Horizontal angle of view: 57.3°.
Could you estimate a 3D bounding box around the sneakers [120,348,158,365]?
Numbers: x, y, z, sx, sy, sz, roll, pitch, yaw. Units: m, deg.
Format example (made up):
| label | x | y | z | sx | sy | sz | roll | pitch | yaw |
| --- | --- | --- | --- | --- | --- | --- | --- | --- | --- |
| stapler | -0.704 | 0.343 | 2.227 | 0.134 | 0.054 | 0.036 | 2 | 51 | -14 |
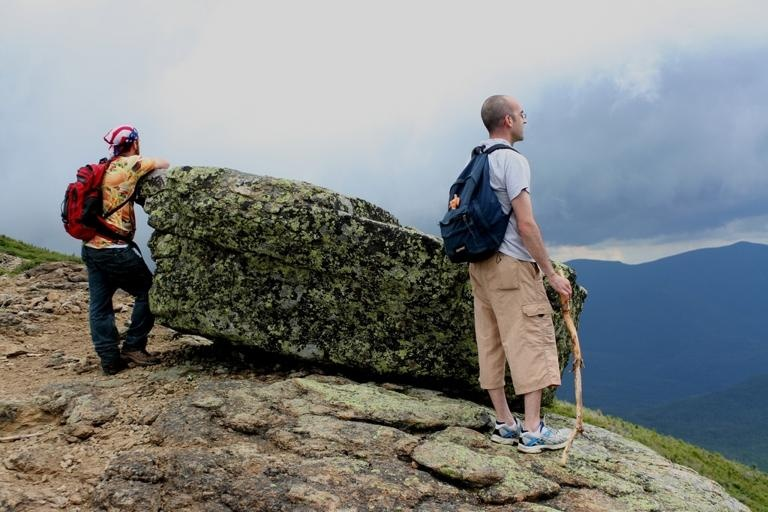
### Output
| label | x | y | z | sx | sy | sz | roll | pitch | yaw |
| --- | --- | --- | --- | --- | --- | --- | --- | --- | --- |
| sneakers | -4.510 | 1.893 | 13.087 | 0.634 | 0.295 | 0.285 | 6 | 10 | -5 |
